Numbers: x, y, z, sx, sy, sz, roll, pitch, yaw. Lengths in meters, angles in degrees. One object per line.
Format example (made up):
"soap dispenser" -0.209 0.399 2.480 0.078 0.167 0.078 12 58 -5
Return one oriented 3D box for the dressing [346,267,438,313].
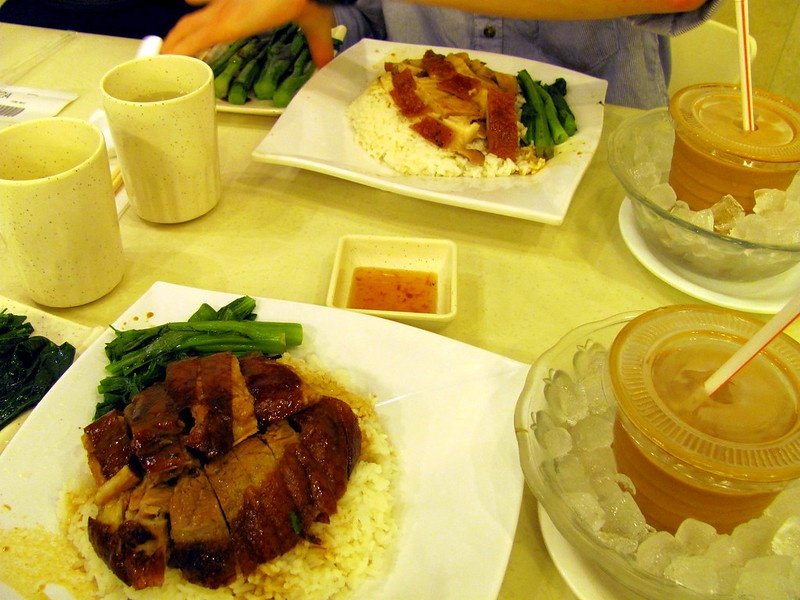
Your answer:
"dressing" -0.019 -0.026 1.758 0.192 0.029 0.136 5 50 5
